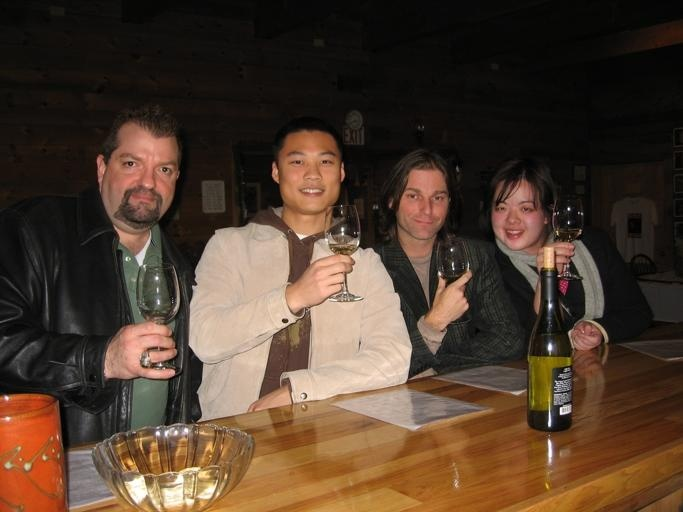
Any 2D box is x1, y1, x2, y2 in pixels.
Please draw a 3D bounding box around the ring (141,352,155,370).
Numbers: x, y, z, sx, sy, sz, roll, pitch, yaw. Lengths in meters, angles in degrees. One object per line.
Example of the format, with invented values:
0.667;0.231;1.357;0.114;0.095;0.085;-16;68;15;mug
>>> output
-0.634;0.348;1.692;0.028;0.037;0.046;-10;20;-3;ring
